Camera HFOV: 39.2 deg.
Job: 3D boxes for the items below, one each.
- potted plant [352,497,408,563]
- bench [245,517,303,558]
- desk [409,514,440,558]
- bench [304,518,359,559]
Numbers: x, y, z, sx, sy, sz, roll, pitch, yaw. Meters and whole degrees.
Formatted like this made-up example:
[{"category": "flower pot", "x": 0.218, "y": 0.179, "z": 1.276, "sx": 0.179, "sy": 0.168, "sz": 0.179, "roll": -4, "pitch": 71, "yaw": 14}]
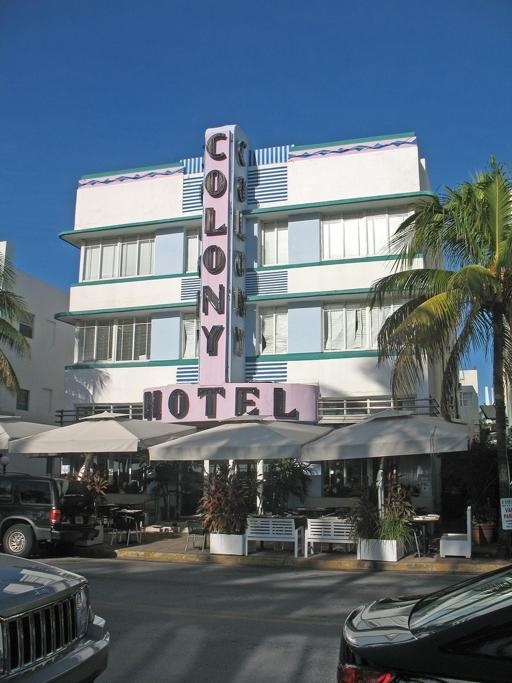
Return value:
[{"category": "potted plant", "x": 2.551, "y": 4.061, "z": 15.312, "sx": 1.204, "sy": 1.239, "sz": 1.038, "roll": -1, "pitch": -23, "yaw": 10}, {"category": "bench", "x": 0.433, "y": 4.591, "z": 16.063, "sx": 1.366, "sy": 0.953, "sz": 0.837, "roll": -1, "pitch": -6, "yaw": 12}, {"category": "desk", "x": 3.919, "y": 4.475, "z": 16.926, "sx": 0.603, "sy": 0.846, "sz": 4.668, "roll": -5, "pitch": -13, "yaw": 12}, {"category": "bench", "x": 1.599, "y": 4.161, "z": 15.896, "sx": 1.211, "sy": 0.845, "sz": 0.875, "roll": -2, "pitch": -6, "yaw": 17}]
